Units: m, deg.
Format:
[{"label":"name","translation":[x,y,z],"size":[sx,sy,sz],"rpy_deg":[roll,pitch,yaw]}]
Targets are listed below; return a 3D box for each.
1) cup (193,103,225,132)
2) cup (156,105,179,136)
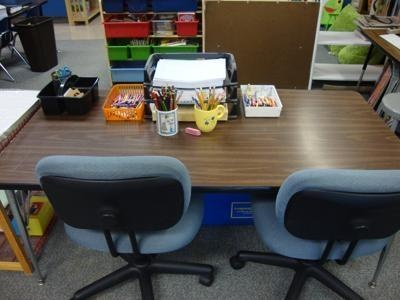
[{"label":"cup","translation":[0.057,-0.168,1.790],"size":[0.178,0.157,0.147],"rpy_deg":[-2,34,-2]},{"label":"cup","translation":[-0.165,-0.146,1.725],"size":[0.135,0.145,0.127],"rpy_deg":[1,50,-2]}]
